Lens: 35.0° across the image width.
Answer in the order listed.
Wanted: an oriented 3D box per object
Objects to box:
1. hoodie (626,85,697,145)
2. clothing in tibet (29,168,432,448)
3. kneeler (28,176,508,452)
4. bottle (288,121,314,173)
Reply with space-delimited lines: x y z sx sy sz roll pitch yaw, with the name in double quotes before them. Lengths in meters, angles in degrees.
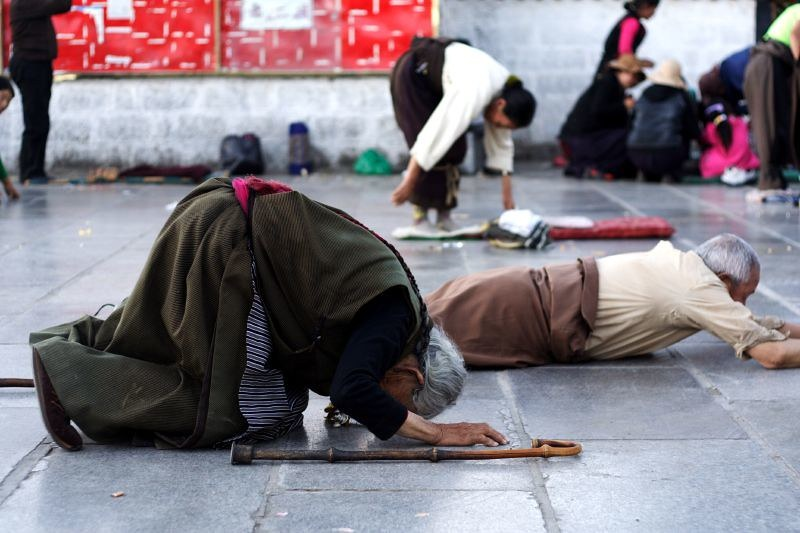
"hoodie" 3.067 -1.711 14.791 0.747 0.701 0.780 1 22 5
"clothing in tibet" -0.920 0.269 7.326 2.145 1.538 0.627 -3 13 9
"kneeler" -0.869 0.402 7.272 3.806 1.430 1.245 -1 13 -3
"bottle" -1.306 -1.534 16.442 0.336 0.672 0.263 -6 13 -4
